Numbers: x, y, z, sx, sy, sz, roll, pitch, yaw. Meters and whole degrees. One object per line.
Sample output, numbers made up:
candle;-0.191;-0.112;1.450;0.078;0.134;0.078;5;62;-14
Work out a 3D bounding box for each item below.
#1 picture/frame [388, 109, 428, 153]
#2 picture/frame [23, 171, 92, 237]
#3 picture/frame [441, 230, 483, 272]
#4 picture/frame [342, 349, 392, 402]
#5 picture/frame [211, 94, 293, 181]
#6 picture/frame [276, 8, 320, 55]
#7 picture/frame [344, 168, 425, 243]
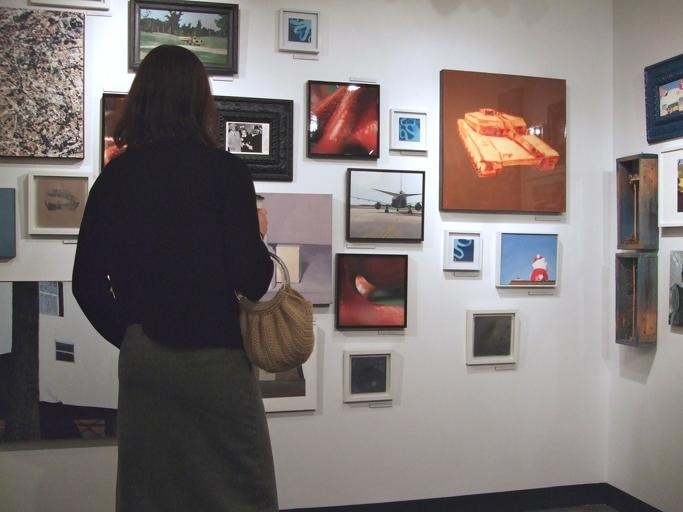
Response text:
picture/frame;0.477;-0.922;4.371;0.277;0.307;0.030;0;-2;-10
picture/frame;-1.918;-0.338;3.953;0.395;0.459;0.030;-1;0;-5
picture/frame;0.889;-0.030;4.436;0.271;0.314;0.104;1;-1;-7
picture/frame;0.166;0.883;4.325;0.341;0.392;0.043;0;-1;-8
picture/frame;-0.603;-0.790;3.916;0.650;0.646;0.052;1;0;-14
picture/frame;-0.321;-1.605;4.247;0.291;0.314;0.035;1;0;-12
picture/frame;0.289;-0.359;4.338;0.472;0.454;0.021;1;3;-11
